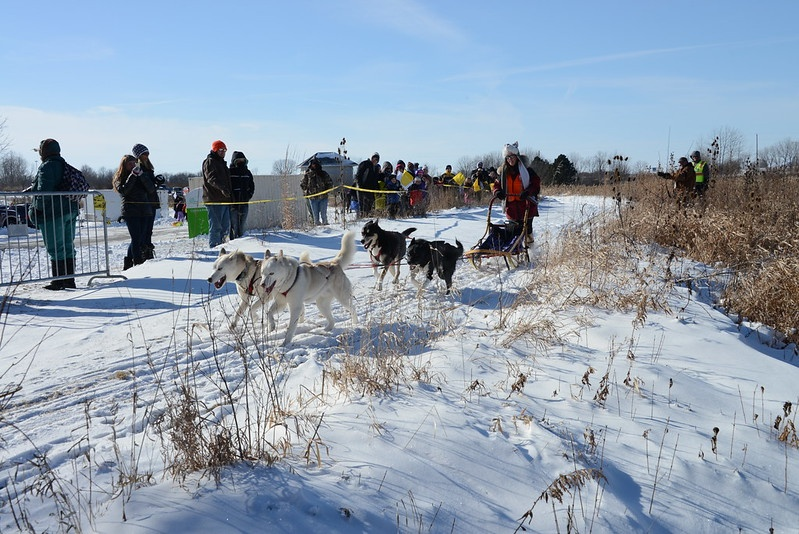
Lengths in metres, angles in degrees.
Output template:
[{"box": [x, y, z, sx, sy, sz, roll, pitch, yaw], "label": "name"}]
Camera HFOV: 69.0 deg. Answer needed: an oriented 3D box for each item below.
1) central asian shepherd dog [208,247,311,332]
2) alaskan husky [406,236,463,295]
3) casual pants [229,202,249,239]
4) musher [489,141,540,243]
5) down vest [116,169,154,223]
[{"box": [-1.992, 0.177, 8.602, 1.638, 1.175, 0.452, -12, 8, -39], "label": "central asian shepherd dog"}, {"box": [0.606, -0.150, 10.226, 1.486, 1.167, 0.501, 9, -8, -38], "label": "alaskan husky"}, {"box": [-3.941, -1.230, 14.372, 0.309, 0.910, 0.222, 1, 27, -12], "label": "casual pants"}, {"box": [2.346, -1.299, 11.580, 0.841, 2.125, 0.714, -1, 5, 32], "label": "musher"}, {"box": [-5.439, -1.554, 12.024, 0.603, 1.060, 0.754, -3, 2, 41], "label": "down vest"}]
